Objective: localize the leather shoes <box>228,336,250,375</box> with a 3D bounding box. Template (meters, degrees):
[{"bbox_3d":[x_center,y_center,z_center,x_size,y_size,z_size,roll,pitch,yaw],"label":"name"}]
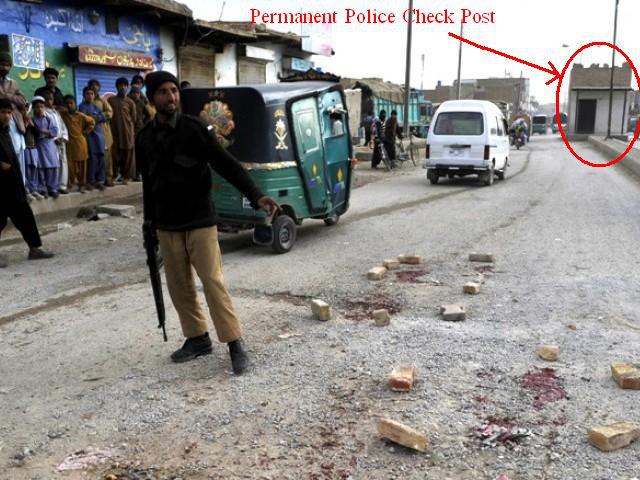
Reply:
[{"bbox_3d":[-0.649,0.907,3.816,0.104,0.136,0.313,-6,0,-14],"label":"leather shoes"}]

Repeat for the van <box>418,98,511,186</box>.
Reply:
[{"bbox_3d":[4.579,-2.898,15.151,2.435,2.852,2.245,6,14,24],"label":"van"}]

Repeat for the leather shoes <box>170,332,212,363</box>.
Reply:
[{"bbox_3d":[-1.029,0.856,3.916,0.332,0.225,0.158,-4,5,-25],"label":"leather shoes"}]

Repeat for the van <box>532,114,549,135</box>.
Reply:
[{"bbox_3d":[24.009,-12.589,52.867,1.431,1.410,2.527,-1,13,23],"label":"van"}]

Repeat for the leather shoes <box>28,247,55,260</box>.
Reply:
[{"bbox_3d":[-4.022,0.178,6.974,0.306,0.136,0.166,-3,10,-14],"label":"leather shoes"}]

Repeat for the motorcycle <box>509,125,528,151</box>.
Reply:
[{"bbox_3d":[12.540,-6.588,30.698,1.011,1.231,2.238,2,25,22],"label":"motorcycle"}]

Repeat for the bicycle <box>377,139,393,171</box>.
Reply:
[{"bbox_3d":[2.533,-3.213,18.468,0.459,1.049,0.816,1,14,10],"label":"bicycle"}]
